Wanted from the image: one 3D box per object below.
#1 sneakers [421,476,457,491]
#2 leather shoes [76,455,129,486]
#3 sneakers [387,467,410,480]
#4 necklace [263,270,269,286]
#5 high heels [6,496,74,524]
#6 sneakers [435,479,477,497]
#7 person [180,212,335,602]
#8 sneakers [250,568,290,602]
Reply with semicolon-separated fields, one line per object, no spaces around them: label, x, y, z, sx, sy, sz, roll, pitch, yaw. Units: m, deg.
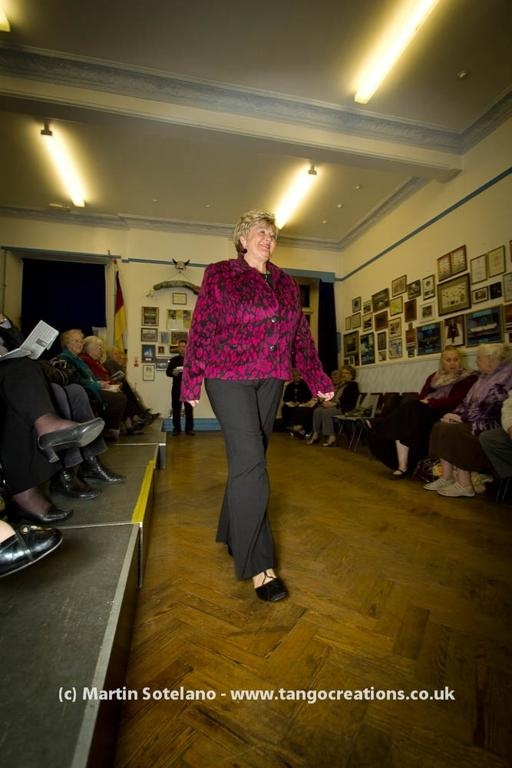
sneakers;1.147;0.615;3.011;0.164;0.065;0.092;-1;-3;-5
leather shoes;-0.655;0.390;2.195;0.260;0.174;0.095;1;-2;6
sneakers;1.042;0.649;3.535;0.104;0.068;0.204;1;1;33
necklace;0.035;-0.373;1.695;0.022;0.042;0.031;-5;8;13
high heels;-0.705;0.408;1.593;0.194;0.070;0.070;5;-2;-28
sneakers;1.205;0.630;2.959;0.204;0.103;0.158;1;1;-1
person;-0.041;0.032;1.641;0.365;1.175;0.354;1;0;6
sneakers;0.048;0.621;1.494;0.053;0.036;0.135;-6;-8;-12
